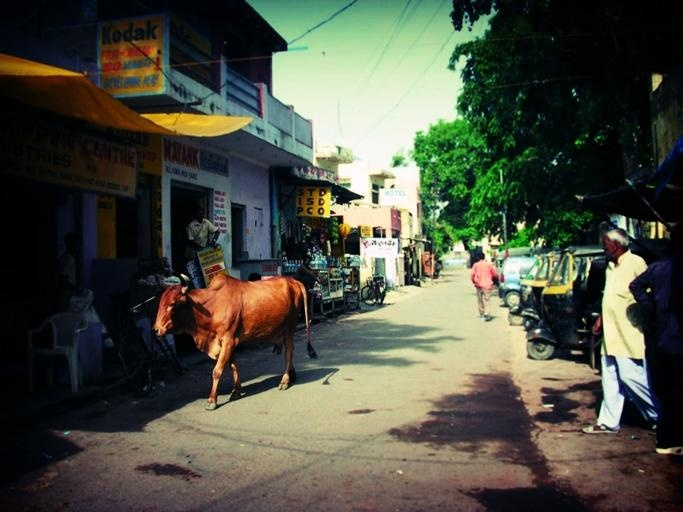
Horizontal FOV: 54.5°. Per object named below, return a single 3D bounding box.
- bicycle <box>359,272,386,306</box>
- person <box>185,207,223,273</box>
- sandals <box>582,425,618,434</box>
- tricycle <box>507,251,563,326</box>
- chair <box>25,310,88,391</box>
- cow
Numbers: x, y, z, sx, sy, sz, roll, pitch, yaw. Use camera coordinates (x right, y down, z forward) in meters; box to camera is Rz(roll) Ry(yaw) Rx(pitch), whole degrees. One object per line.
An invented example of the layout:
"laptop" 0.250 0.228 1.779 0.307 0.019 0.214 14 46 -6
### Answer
"bicycle" 1.248 1.395 26.545 0.937 1.205 1.961 -1 5 1
"person" -2.948 -0.397 13.891 0.657 1.213 1.093 -2 6 -14
"sandals" 3.250 2.176 8.287 0.375 0.118 0.157 3 -6 4
"tricycle" 5.071 0.817 17.363 1.382 1.425 2.318 1 -1 7
"chair" -4.121 1.408 10.066 0.843 1.553 1.072 -1 -7 -1
"cow" -1.561 1.178 10.115 0.788 1.864 2.687 4 7 43
